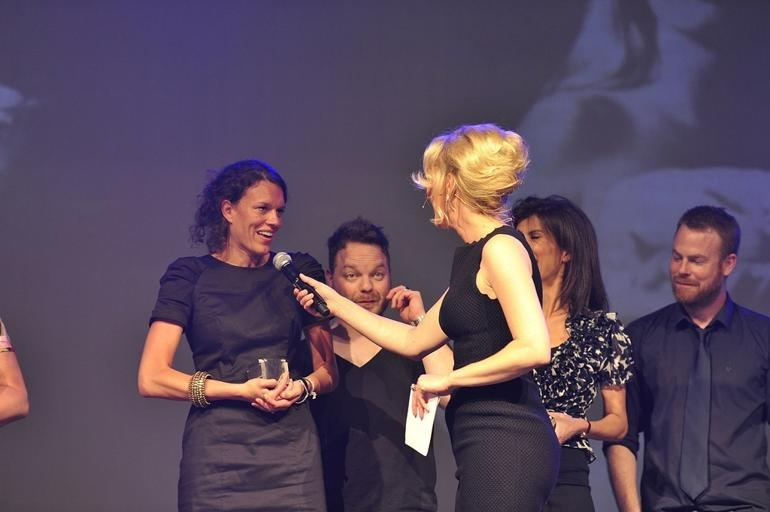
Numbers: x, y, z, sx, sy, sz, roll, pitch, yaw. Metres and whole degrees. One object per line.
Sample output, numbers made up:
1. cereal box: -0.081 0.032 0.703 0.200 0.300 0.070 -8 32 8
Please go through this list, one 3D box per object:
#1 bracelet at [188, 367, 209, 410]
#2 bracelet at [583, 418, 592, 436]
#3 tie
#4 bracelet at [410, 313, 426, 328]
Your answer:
1. bracelet: -1.014 0.733 4.230 0.088 0.161 0.136 0 -33 -6
2. bracelet: 1.102 0.927 4.116 0.036 0.079 0.066 -7 -16 19
3. tie: 1.838 0.931 4.481 0.164 1.030 0.049 -9 -30 42
4. bracelet: 0.186 0.358 4.269 0.029 0.077 0.059 46 6 5
